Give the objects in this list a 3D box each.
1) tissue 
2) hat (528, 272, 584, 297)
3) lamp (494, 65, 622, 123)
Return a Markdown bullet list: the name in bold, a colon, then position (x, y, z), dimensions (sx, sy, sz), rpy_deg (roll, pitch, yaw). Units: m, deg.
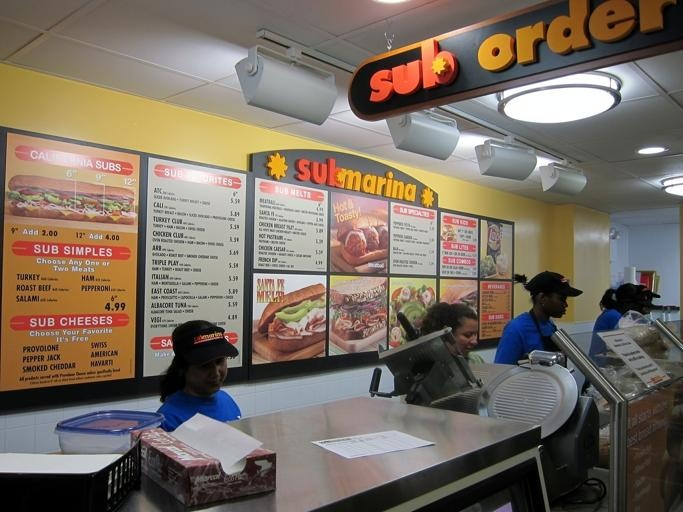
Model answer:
- **tissue **: position (-0.244, 0.349, 0.896), dimensions (0.136, 0.076, 0.196), rpy_deg (0, 4, -36)
- **hat**: position (1.397, 0.188, 3.055), dimensions (0.280, 0.119, 0.178), rpy_deg (6, 5, 19)
- **lamp**: position (1.319, -0.927, 2.728), dimensions (0.502, 0.122, 0.519), rpy_deg (-1, -3, -10)
